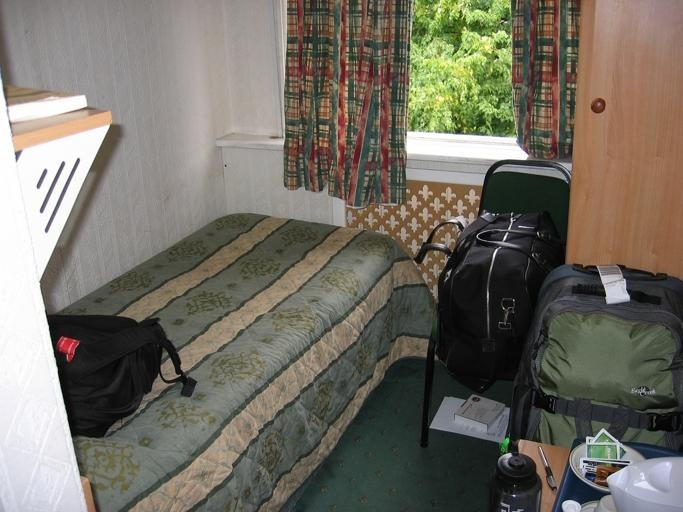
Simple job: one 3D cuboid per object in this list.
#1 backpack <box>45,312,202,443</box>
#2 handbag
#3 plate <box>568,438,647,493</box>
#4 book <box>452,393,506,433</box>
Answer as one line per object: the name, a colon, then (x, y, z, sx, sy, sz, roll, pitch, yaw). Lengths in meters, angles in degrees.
backpack: (-0.717, 0.353, 1.681, 0.458, 0.197, 0.387, 23, 29, 3)
handbag: (0.651, 0.108, 2.478, 0.470, 0.722, 0.736, 12, 40, 26)
plate: (0.519, 0.380, 1.039, 0.114, 0.030, 0.118, -10, 19, -16)
book: (0.595, 0.682, 2.329, 0.126, 0.034, 0.137, 8, 28, 37)
